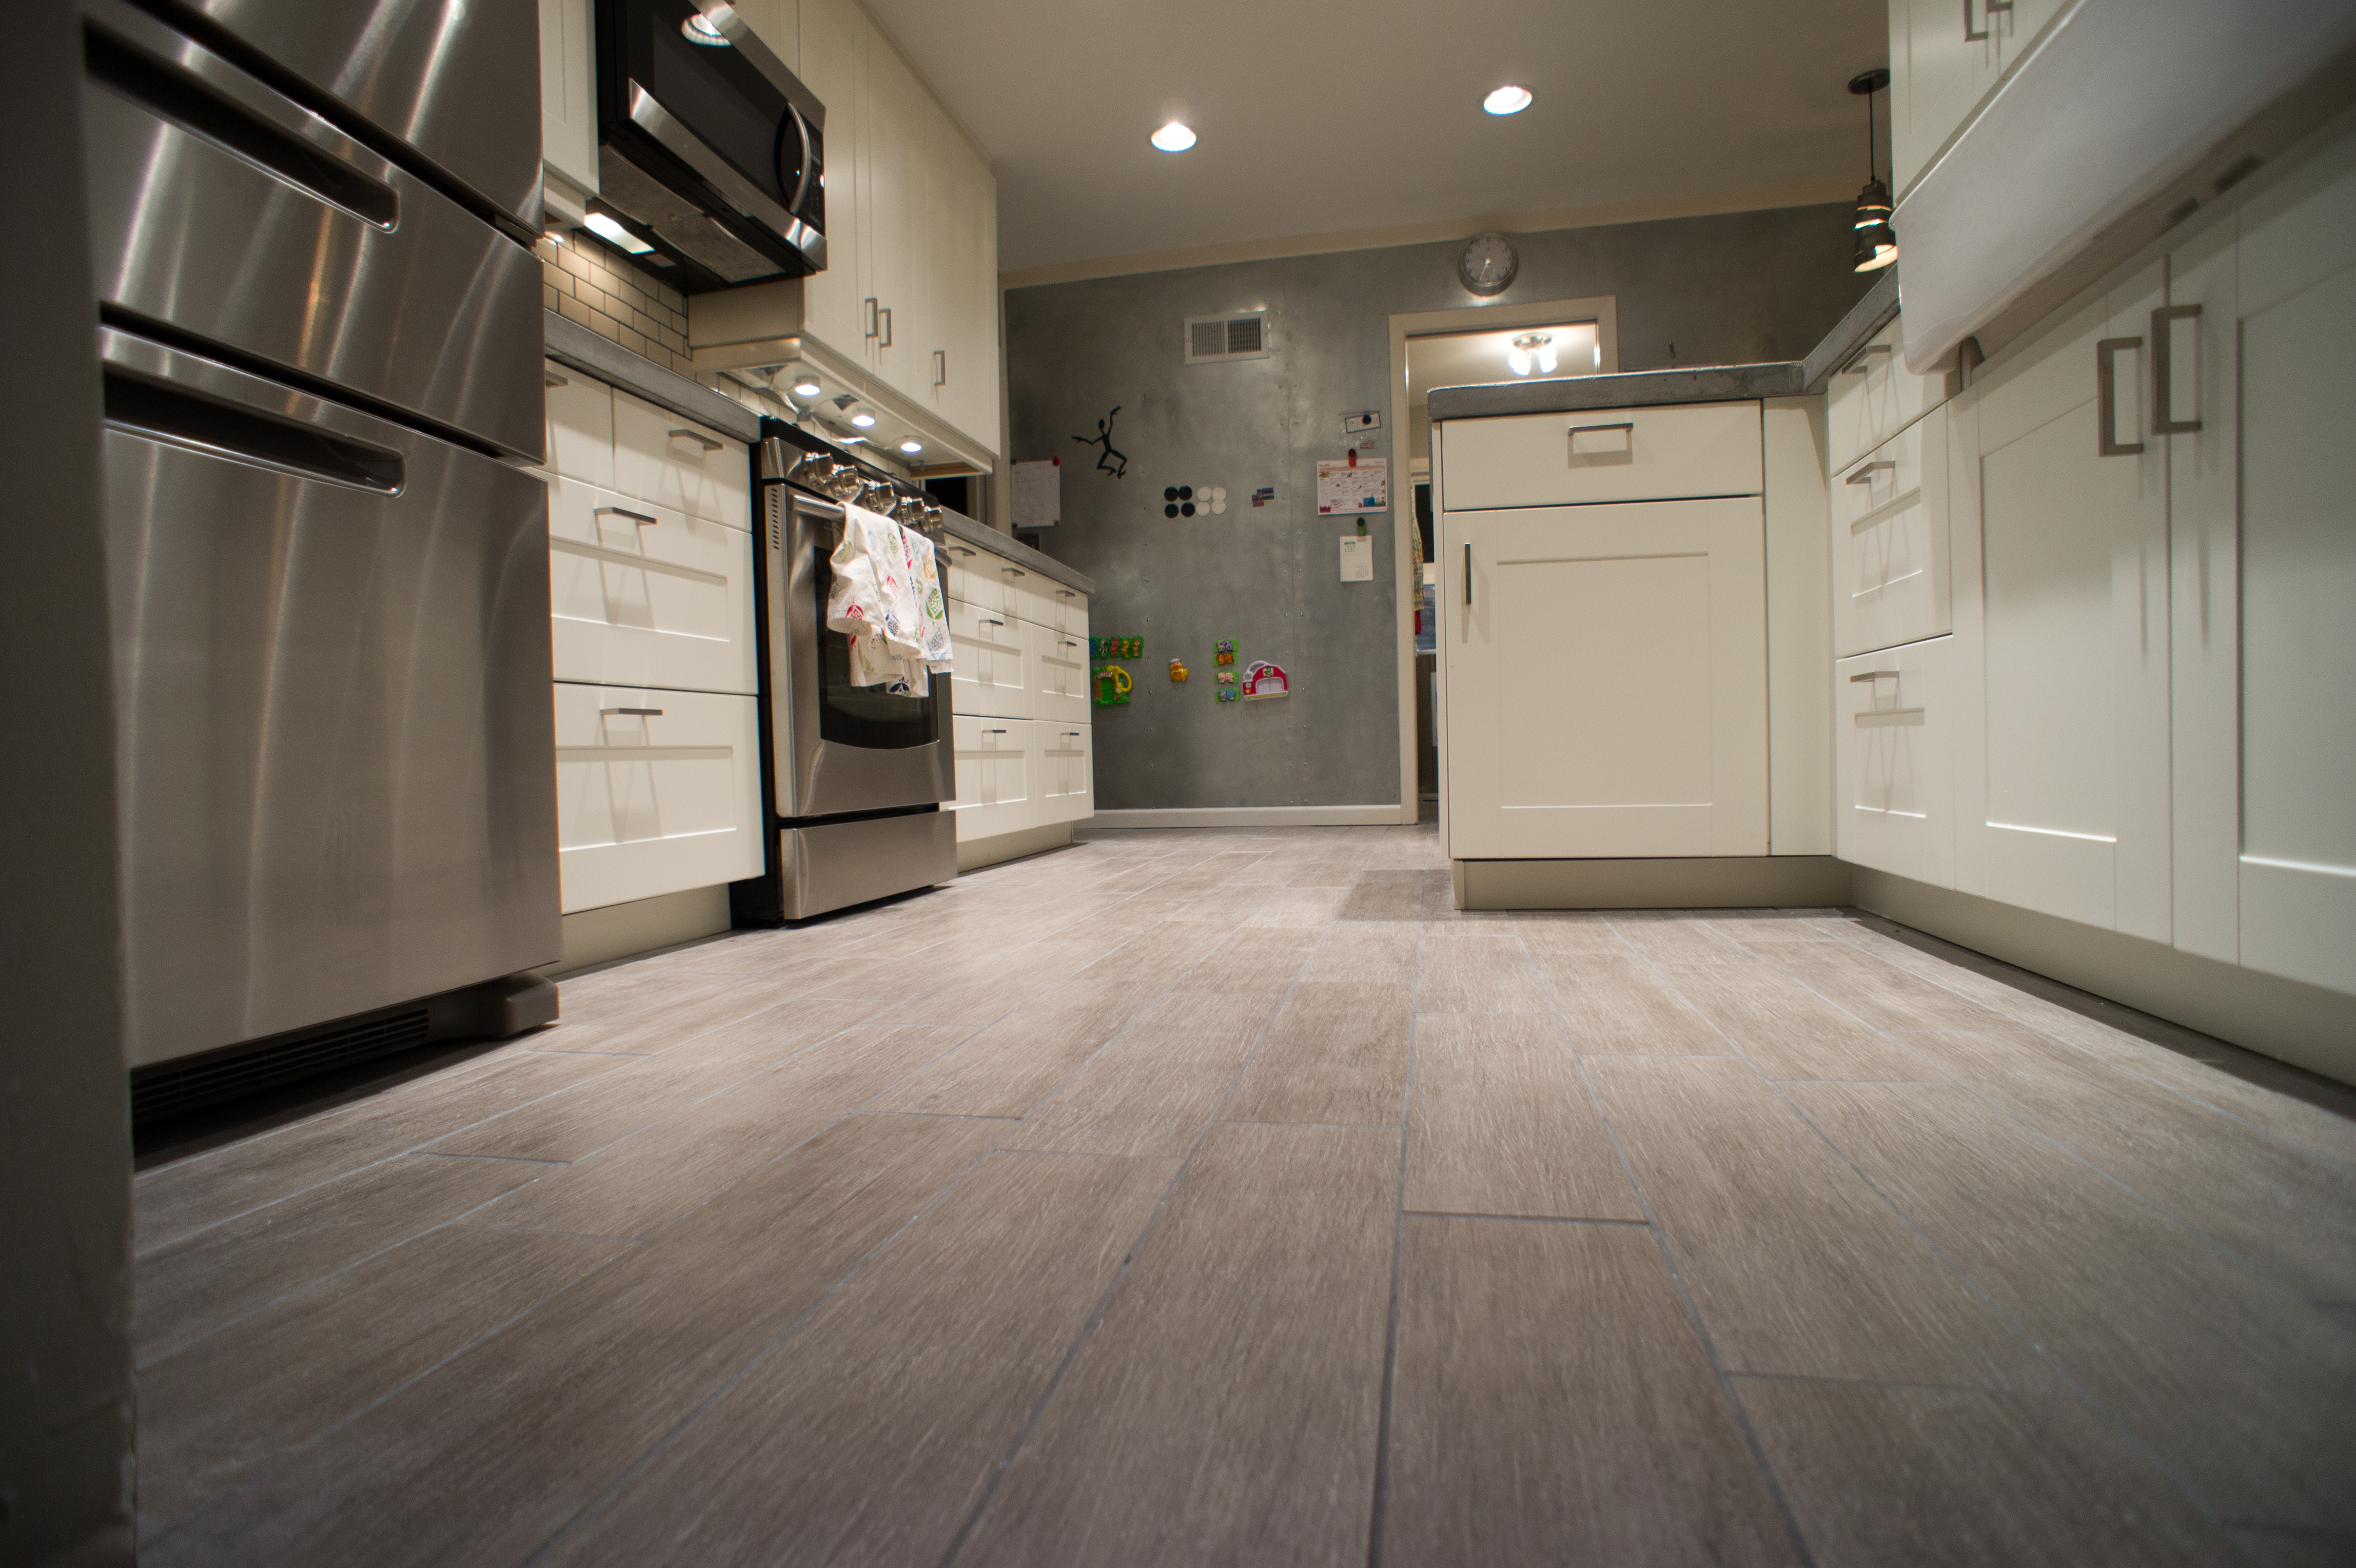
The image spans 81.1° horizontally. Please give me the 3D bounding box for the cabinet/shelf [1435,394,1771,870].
[{"bbox_3d":[0.894,-0.204,3.004,0.675,0.997,0.669,2,-15,6],"label":"cabinet/shelf"}]

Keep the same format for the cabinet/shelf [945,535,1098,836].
[{"bbox_3d":[-0.623,-0.256,4.569,0.351,0.956,1.081,-2,-1,20],"label":"cabinet/shelf"}]
